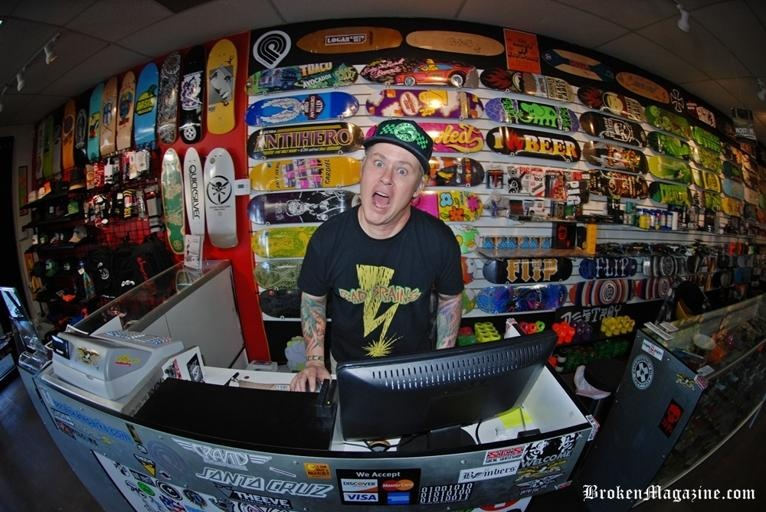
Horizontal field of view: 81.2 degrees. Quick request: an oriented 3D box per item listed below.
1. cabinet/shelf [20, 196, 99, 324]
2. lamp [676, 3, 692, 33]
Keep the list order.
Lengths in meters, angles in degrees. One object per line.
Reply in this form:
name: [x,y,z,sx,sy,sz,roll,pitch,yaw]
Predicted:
cabinet/shelf: [-3.906,-0.030,5.566,0.663,1.314,0.393,-1,-2,-38]
lamp: [3.060,-2.429,4.595,0.101,0.218,0.319,7,5,42]
